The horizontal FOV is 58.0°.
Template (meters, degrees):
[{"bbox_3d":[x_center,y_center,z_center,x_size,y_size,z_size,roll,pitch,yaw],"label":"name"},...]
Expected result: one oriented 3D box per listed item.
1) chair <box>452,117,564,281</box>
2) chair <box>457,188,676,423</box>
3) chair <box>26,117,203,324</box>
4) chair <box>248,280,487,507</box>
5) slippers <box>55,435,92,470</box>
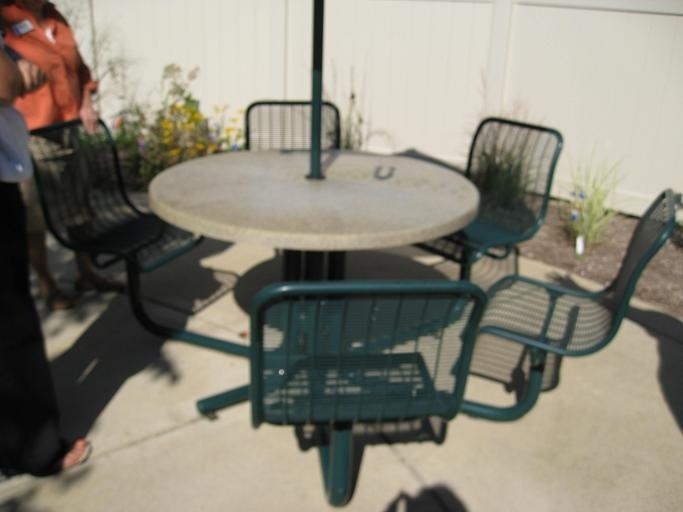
[{"bbox_3d":[1.122,-0.343,4.102,0.684,1.031,0.615,-31,48,-30],"label":"chair"},{"bbox_3d":[1.284,0.305,3.516,0.740,1.170,0.638,17,38,20],"label":"chair"},{"bbox_3d":[-1.434,-0.322,3.590,1.129,0.781,0.779,32,30,11],"label":"chair"},{"bbox_3d":[0.070,0.424,2.362,0.614,1.012,0.710,0,44,-3],"label":"chair"},{"bbox_3d":[-1.316,0.951,3.013,0.140,0.111,0.084,-28,1,-18],"label":"slippers"}]
